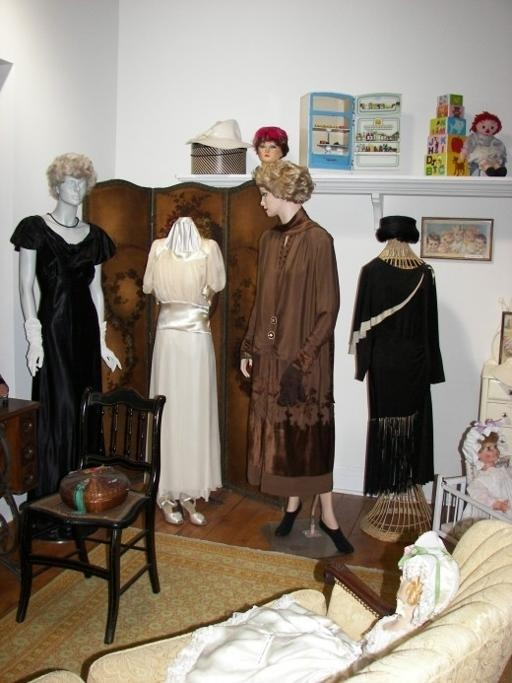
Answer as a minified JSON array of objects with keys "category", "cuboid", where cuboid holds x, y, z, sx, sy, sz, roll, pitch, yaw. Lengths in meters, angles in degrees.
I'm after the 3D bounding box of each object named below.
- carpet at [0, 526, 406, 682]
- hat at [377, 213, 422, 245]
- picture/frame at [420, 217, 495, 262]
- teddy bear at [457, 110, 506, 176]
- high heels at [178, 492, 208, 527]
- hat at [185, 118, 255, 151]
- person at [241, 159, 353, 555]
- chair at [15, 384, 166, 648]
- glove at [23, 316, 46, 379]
[{"category":"carpet","cuboid":[-0.252,0.872,1.972,0.677,0.004,0.590,5,13,23]},{"category":"hat","cuboid":[0.750,-0.585,3.110,0.169,0.110,0.171,6,6,6]},{"category":"picture/frame","cuboid":[1.233,-0.625,3.541,0.361,0.232,0.014,4,15,18]},{"category":"teddy bear","cuboid":[1.257,-1.085,3.243,0.239,0.376,0.187,2,6,15]},{"category":"high heels","cuboid":[-0.352,0.934,3.346,0.088,0.123,0.257,-19,31,-38]},{"category":"hat","cuboid":[-0.197,-1.212,3.466,0.275,0.110,0.259,-6,29,-22]},{"category":"person","cuboid":[0.214,0.124,2.801,0.526,1.918,0.319,2,6,9]},{"category":"chair","cuboid":[-0.647,0.666,2.342,0.545,0.833,0.582,5,7,38]},{"category":"glove","cuboid":[-1.084,0.031,2.880,0.079,0.301,0.138,-1,6,-20]}]
